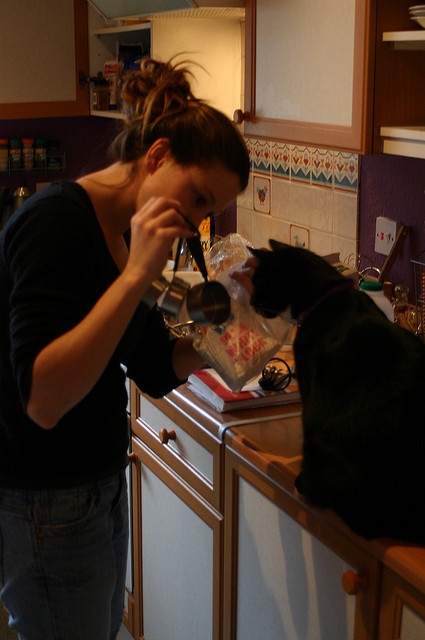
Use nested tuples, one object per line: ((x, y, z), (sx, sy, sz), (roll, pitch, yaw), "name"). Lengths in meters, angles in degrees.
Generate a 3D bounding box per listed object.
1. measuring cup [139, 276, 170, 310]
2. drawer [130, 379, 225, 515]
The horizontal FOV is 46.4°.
((-0.074, -0.030, 0.637), (0.038, 0.057, 0.107), (0, 13, -9), "measuring cup")
((-0.127, 0.313, 1.336), (0.042, 0.228, 0.588), (-4, 15, -30), "drawer")
